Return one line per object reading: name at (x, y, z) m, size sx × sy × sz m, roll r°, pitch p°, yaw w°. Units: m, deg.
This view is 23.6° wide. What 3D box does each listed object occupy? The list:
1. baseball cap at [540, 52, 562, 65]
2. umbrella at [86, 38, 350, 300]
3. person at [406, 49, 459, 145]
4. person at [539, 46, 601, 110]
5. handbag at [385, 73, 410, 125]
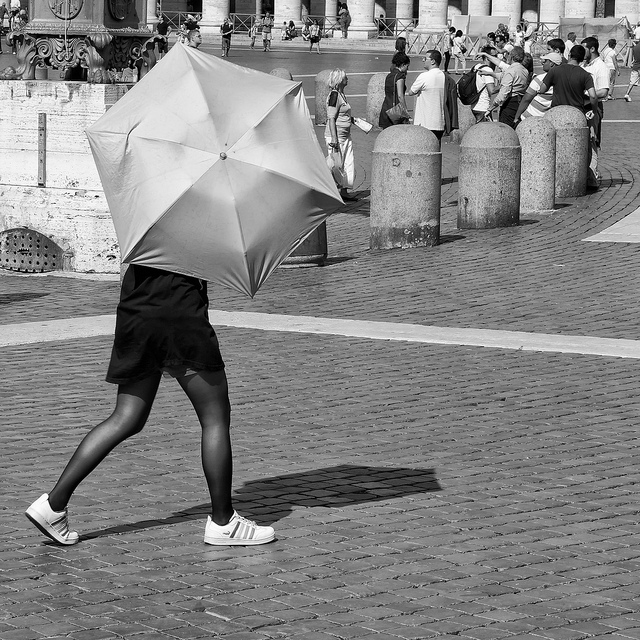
baseball cap at (3.184, -3.576, 21.144) m, size 0.248 × 0.153 × 0.371 m, roll 2°, pitch 11°, yaw 7°
umbrella at (-0.444, -0.621, 6.370) m, size 1.040 × 1.004 × 0.608 m, roll -1°, pitch 11°, yaw -8°
person at (1.394, -2.771, 19.128) m, size 0.596 × 1.091 × 1.409 m, roll 2°, pitch 11°, yaw 4°
person at (3.031, -2.932, 18.754) m, size 0.700 × 0.770 × 1.150 m, roll 2°, pitch 11°, yaw 7°
handbag at (0.945, -2.742, 19.240) m, size 0.293 × 0.631 × 0.485 m, roll 1°, pitch 11°, yaw 3°
